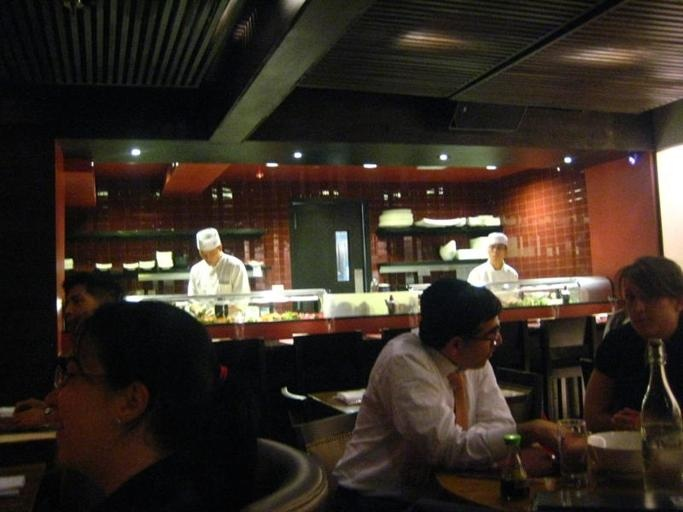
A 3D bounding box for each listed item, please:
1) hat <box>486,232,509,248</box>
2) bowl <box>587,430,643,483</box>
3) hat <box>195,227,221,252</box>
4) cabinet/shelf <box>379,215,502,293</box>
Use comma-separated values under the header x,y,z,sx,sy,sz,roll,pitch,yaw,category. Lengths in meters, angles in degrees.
x,y,z,sx,sy,sz,roll,pitch,yaw,category
1.678,-0.177,6.702,0.204,0.160,0.205,2,-7,-10,hat
0.730,0.543,1.654,0.107,0.053,0.109,-3,1,0,bowl
-1.241,-0.143,5.757,0.242,0.186,0.249,-2,3,31,hat
1.110,-0.026,7.451,0.934,0.891,0.341,0,-5,-9,cabinet/shelf
